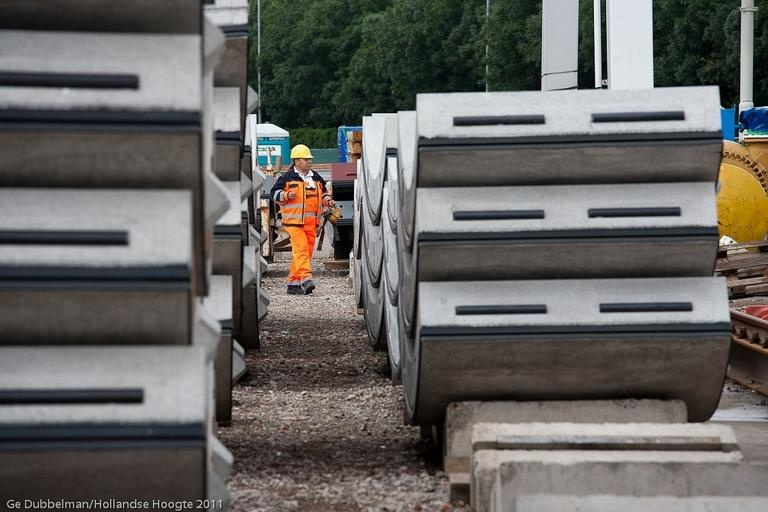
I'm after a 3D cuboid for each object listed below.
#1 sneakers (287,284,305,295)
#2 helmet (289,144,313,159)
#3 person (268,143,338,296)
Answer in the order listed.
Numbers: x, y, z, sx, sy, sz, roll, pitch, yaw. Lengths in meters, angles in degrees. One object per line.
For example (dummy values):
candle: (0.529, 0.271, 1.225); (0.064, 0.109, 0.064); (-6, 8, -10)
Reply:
sneakers: (-0.981, 0.381, 13.395); (0.204, 0.093, 0.148); (-5, -16, -10)
helmet: (-0.974, -1.131, 13.251); (0.314, 0.180, 0.259); (-1, 1, 38)
person: (-0.918, -0.383, 13.273); (0.584, 1.656, 0.386); (-6, 12, -19)
